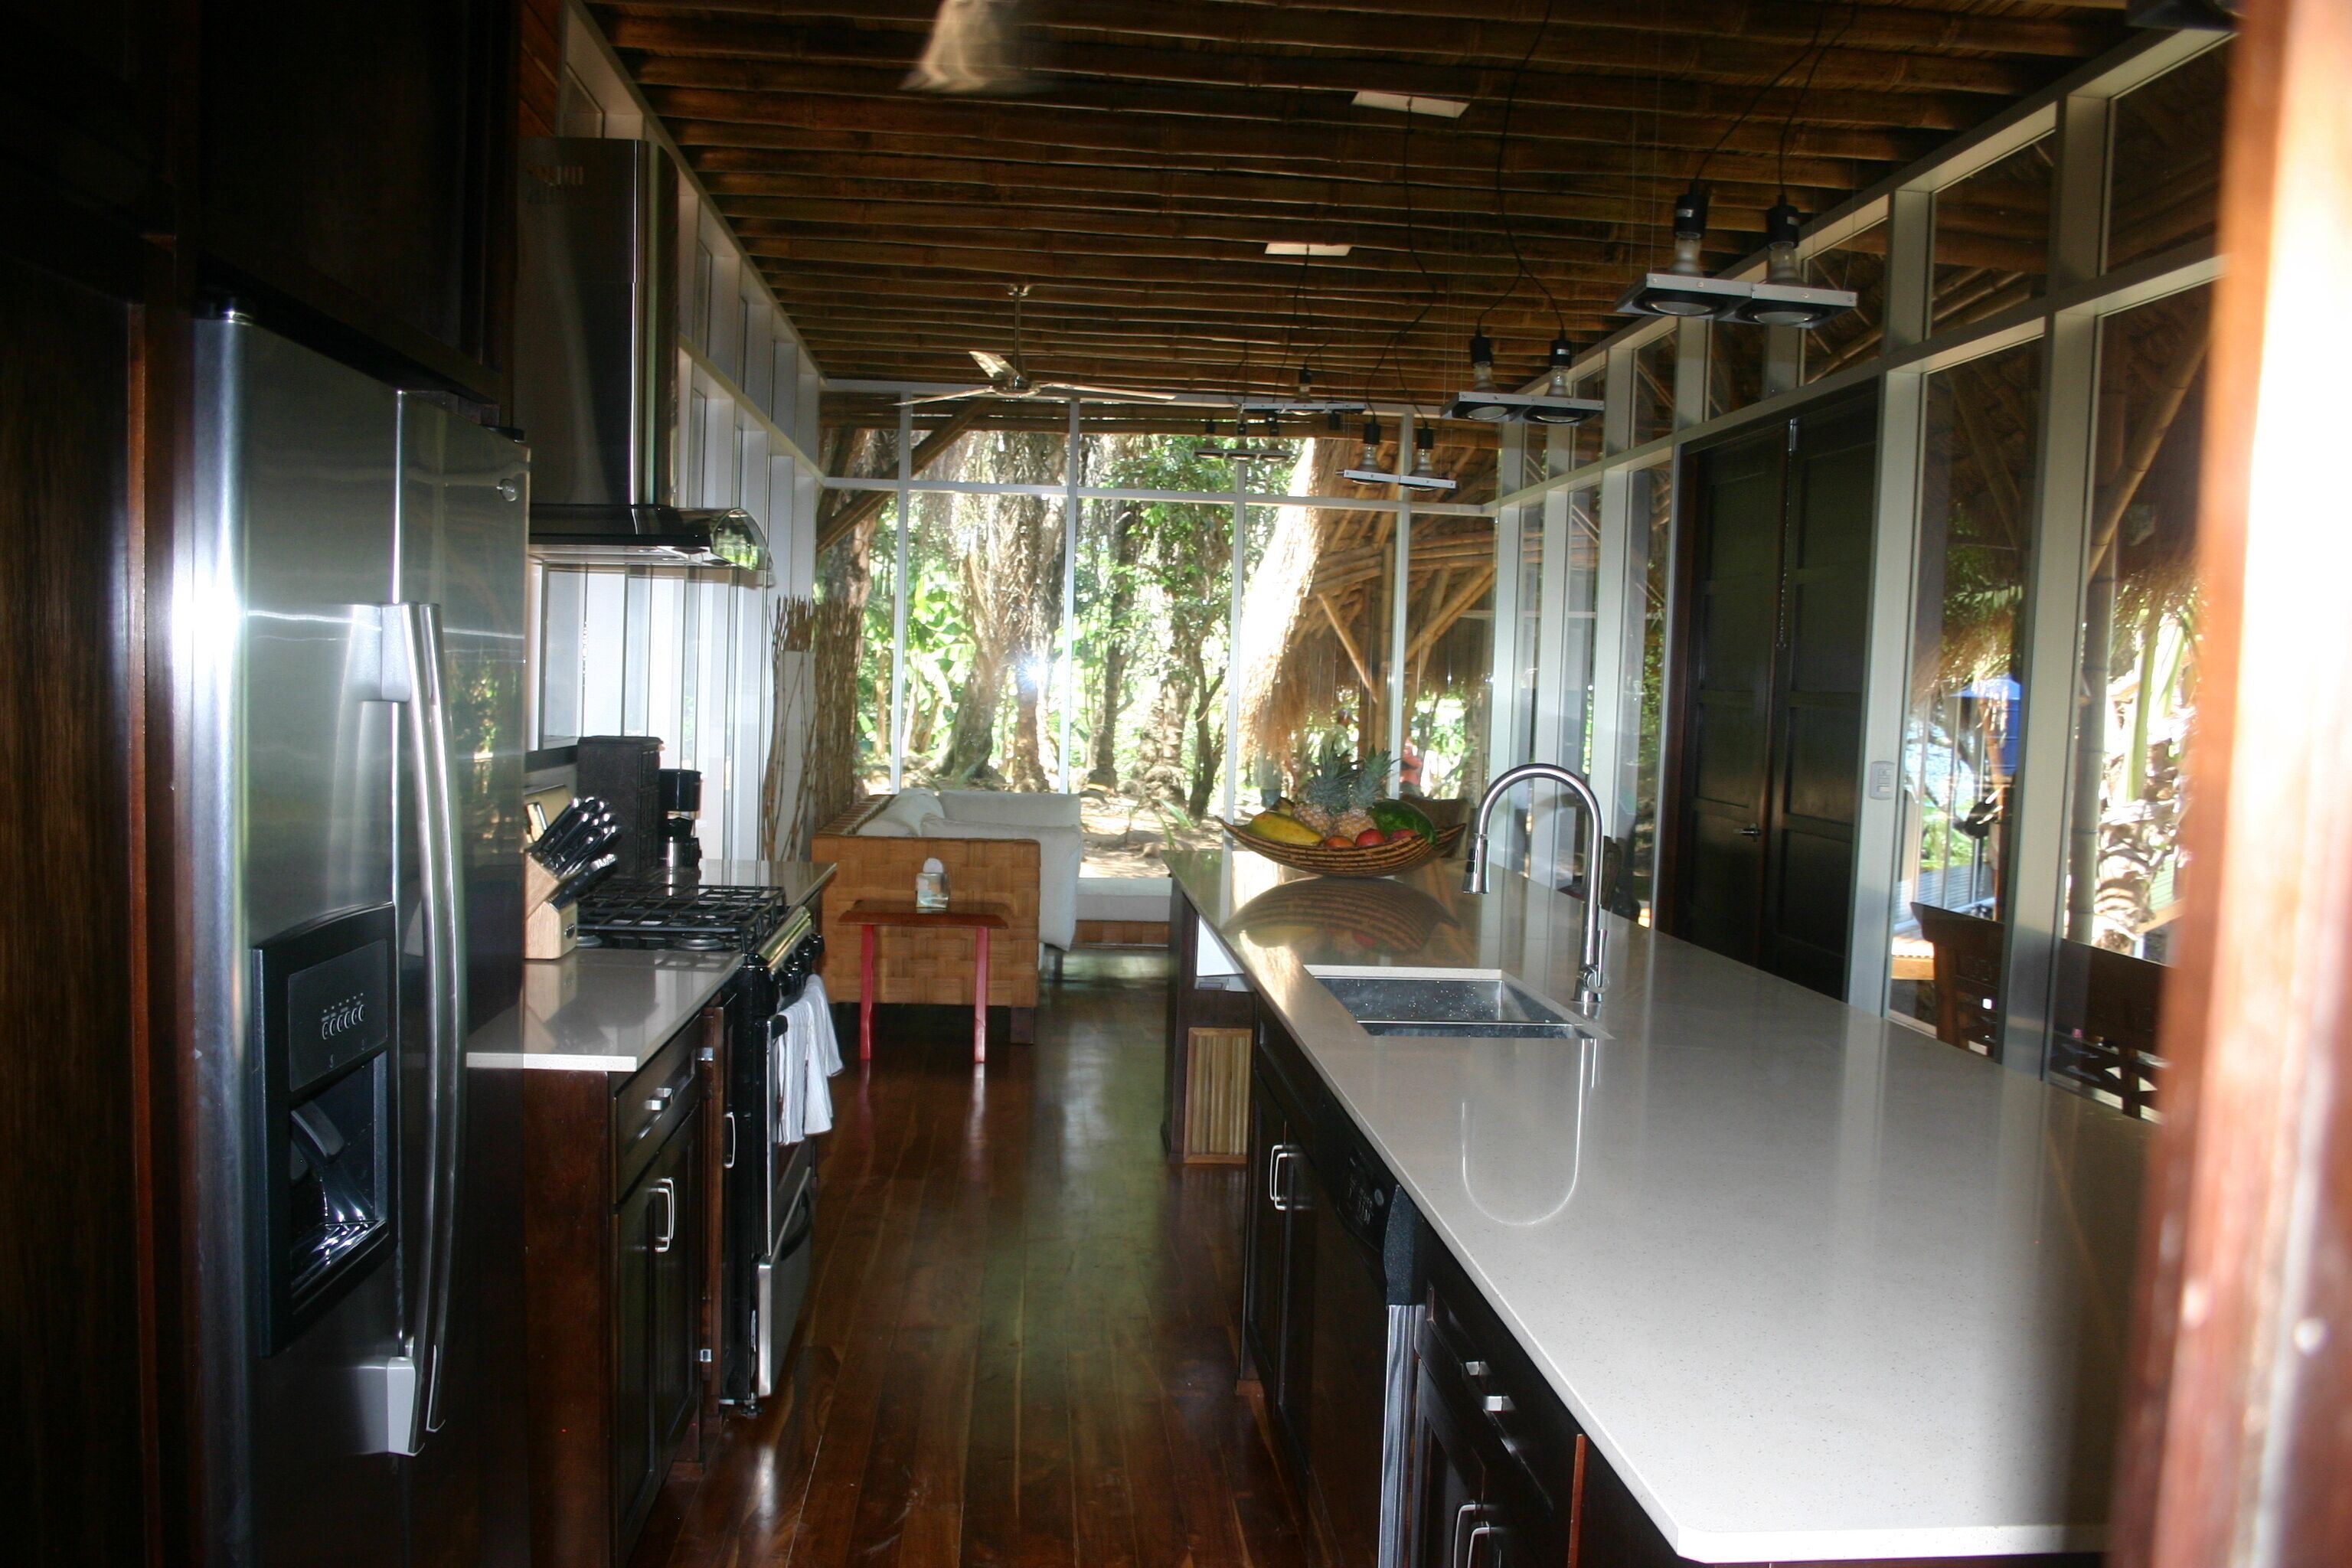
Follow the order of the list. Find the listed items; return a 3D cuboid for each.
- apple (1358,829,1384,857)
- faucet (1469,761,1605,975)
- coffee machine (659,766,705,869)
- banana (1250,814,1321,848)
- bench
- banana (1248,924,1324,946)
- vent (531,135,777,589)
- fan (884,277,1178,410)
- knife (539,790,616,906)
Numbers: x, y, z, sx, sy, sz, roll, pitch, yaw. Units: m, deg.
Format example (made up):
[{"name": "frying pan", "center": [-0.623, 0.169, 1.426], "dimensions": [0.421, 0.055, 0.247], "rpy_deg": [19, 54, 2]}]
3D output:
[{"name": "apple", "center": [0.550, 0.157, 4.966], "dimensions": [0.071, 0.052, 0.104], "rpy_deg": [1, 9, 6]}, {"name": "faucet", "center": [0.675, 0.223, 3.314], "dimensions": [0.266, 0.557, 0.151], "rpy_deg": [2, 23, 14]}, {"name": "coffee machine", "center": [-1.314, 0.091, 4.696], "dimensions": [0.097, 0.249, 0.200], "rpy_deg": [-3, 9, -18]}, {"name": "banana", "center": [0.319, 0.130, 5.037], "dimensions": [0.177, 0.070, 0.083], "rpy_deg": [25, 37, 18]}, {"name": "bench", "center": [2.111, 0.540, 4.262], "dimensions": [0.188, 0.378, 0.588], "rpy_deg": [-7, 11, -17]}, {"name": "banana", "center": [0.244, 0.330, 3.879], "dimensions": [0.150, 0.021, 0.254], "rpy_deg": [0, 9, 1]}, {"name": "vent", "center": [-1.265, -0.985, 4.341], "dimensions": [0.665, 1.120, 0.652], "rpy_deg": [1, -2, -29]}, {"name": "fan", "center": [-0.559, -2.107, 8.665], "dimensions": [1.540, 0.458, 2.492], "rpy_deg": [-2, 9, -10]}, {"name": "knife", "center": [-1.119, 0.120, 3.292], "dimensions": [0.115, 0.207, 0.079], "rpy_deg": [46, 14, 19]}]
